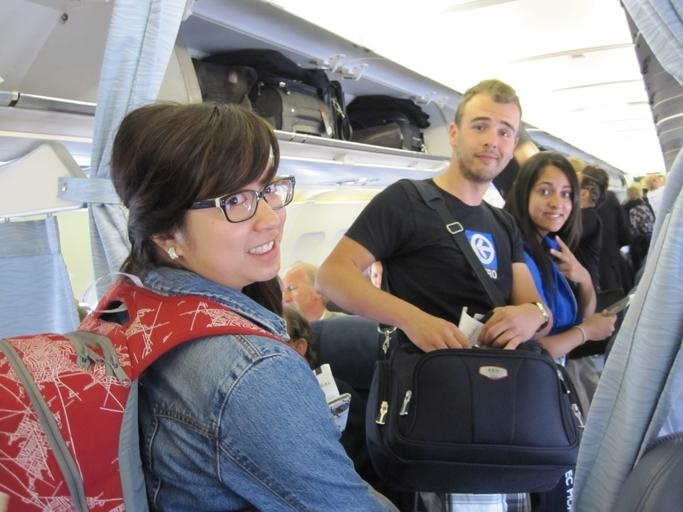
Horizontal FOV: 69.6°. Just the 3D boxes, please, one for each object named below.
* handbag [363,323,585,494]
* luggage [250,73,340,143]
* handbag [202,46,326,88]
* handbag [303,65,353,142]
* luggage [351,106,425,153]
[{"bbox_3d":[0.505,0.509,2.005,0.855,0.755,0.463,5,-16,-7],"label":"handbag"},{"bbox_3d":[-0.376,-1.100,3.621,0.623,0.312,0.932,19,19,26],"label":"luggage"},{"bbox_3d":[-0.546,-1.250,3.215,0.364,0.139,0.479,11,4,35],"label":"handbag"},{"bbox_3d":[-0.086,-1.177,3.794,0.168,0.433,0.341,-11,22,-19],"label":"handbag"},{"bbox_3d":[0.390,-1.165,4.508,0.528,0.213,0.402,6,2,20],"label":"luggage"}]
